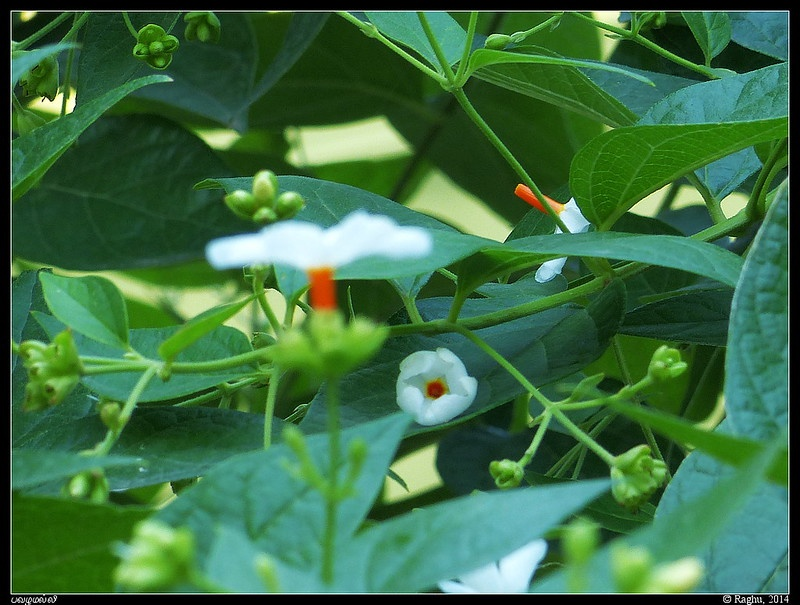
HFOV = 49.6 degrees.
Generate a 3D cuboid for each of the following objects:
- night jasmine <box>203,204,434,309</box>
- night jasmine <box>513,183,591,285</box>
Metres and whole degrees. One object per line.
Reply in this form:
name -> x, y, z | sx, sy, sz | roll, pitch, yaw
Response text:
night jasmine -> -0.055, -0.033, 0.607 | 0.158, 0.045, 0.133 | -3, 5, -4
night jasmine -> 0.131, -0.057, 0.742 | 0.060, 0.085, 0.108 | 1, 8, 10
